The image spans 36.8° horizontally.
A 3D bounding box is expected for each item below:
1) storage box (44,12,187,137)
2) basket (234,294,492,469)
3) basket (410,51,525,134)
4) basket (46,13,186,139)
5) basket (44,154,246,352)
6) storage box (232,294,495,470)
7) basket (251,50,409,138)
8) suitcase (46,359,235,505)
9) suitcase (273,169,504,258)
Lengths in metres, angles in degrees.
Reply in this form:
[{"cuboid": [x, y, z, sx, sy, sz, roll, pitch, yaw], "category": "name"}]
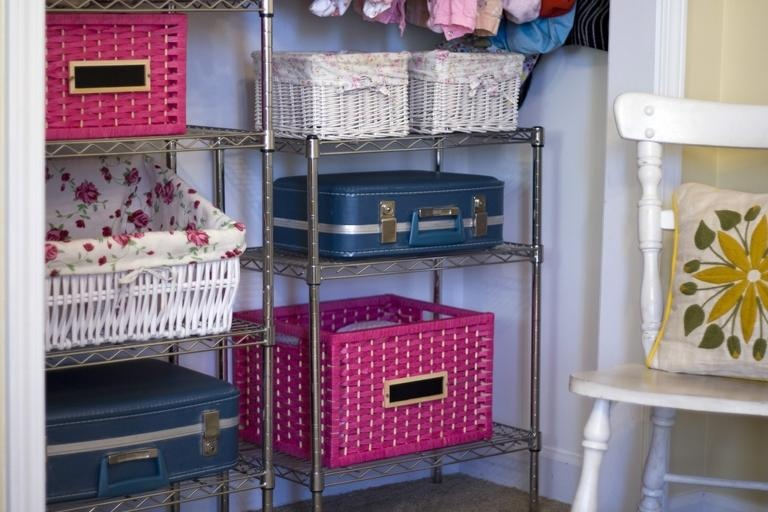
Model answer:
[{"cuboid": [-0.773, -0.460, 2.982, 0.266, 0.290, 0.445, 12, 16, 42], "category": "storage box"}, {"cuboid": [-0.048, 0.295, 3.428, 0.615, 0.335, 0.587, -2, 1, -36], "category": "basket"}, {"cuboid": [0.278, -0.488, 3.503, 0.375, 0.220, 0.228, 5, 13, 9], "category": "basket"}, {"cuboid": [-0.781, -0.464, 2.979, 0.276, 0.301, 0.454, 9, 15, 36], "category": "basket"}, {"cuboid": [-0.760, -0.025, 3.092, 0.534, 0.468, 0.575, -6, 9, -36], "category": "basket"}, {"cuboid": [-0.059, 0.309, 3.437, 0.616, 0.334, 0.591, -2, 2, -36], "category": "storage box"}, {"cuboid": [-0.152, -0.425, 3.310, 0.324, 0.187, 0.328, 4, 5, 41], "category": "basket"}, {"cuboid": [-0.646, 0.466, 3.080, 0.500, 0.294, 0.364, -2, 7, -15], "category": "suitcase"}, {"cuboid": [0.019, -0.127, 3.472, 0.596, 0.234, 0.366, -5, 8, -32], "category": "suitcase"}]
